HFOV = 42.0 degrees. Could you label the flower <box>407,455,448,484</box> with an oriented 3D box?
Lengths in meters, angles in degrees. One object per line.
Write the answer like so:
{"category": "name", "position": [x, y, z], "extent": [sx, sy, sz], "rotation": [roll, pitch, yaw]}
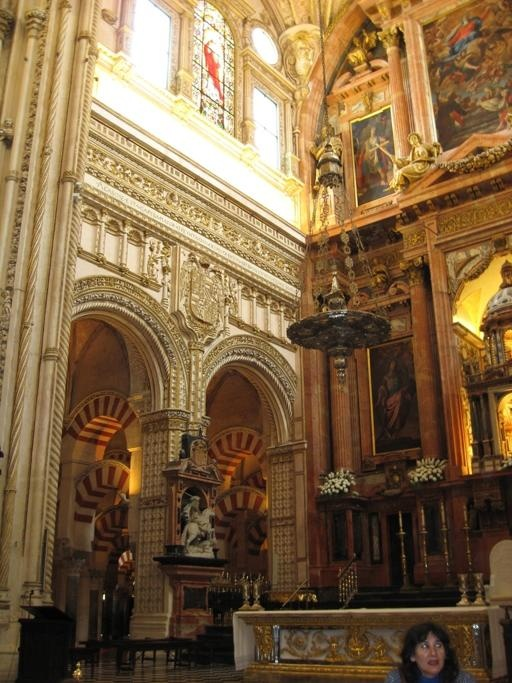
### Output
{"category": "flower", "position": [3.067, 2.305, 11.939], "extent": [0.709, 0.480, 0.348], "rotation": [-10, -24, 21]}

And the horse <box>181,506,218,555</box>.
{"category": "horse", "position": [-0.882, 2.953, 10.371], "extent": [0.224, 0.766, 0.705], "rotation": [-12, -25, 26]}

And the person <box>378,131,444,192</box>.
{"category": "person", "position": [3.157, -3.773, 13.753], "extent": [0.832, 1.254, 1.542], "rotation": [2, -4, -44]}
